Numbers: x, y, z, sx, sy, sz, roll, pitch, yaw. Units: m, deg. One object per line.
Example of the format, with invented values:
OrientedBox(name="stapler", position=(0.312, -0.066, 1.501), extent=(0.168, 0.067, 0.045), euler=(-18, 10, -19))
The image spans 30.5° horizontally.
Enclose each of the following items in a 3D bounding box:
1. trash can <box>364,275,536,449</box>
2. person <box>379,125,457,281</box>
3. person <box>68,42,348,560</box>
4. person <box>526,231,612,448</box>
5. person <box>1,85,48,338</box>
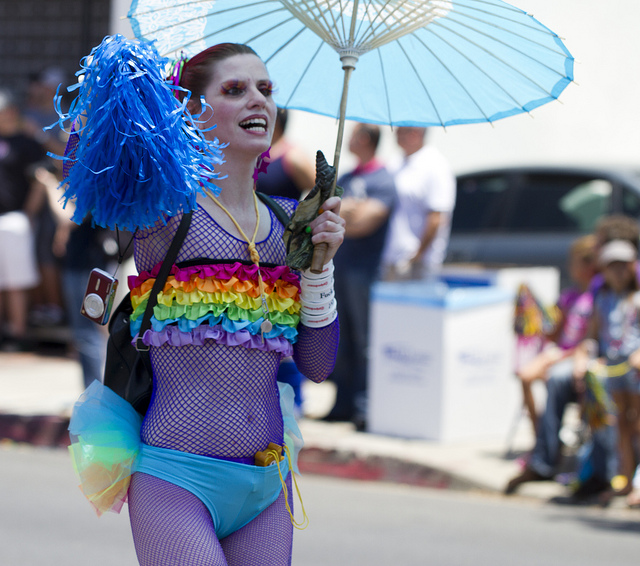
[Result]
OrientedBox(name="trash can", position=(0.762, 0.498, 7.139), extent=(0.833, 0.810, 0.608), euler=(3, -2, -44))
OrientedBox(name="person", position=(0.586, -0.475, 7.084), extent=(0.435, 0.903, 0.509), euler=(4, 10, 30))
OrientedBox(name="person", position=(-0.331, 0.047, 3.706), extent=(0.806, 1.586, 0.557), euler=(-8, 11, -38))
OrientedBox(name="person", position=(1.260, 0.206, 5.991), extent=(0.243, 1.263, 0.228), euler=(21, 4, 0))
OrientedBox(name="person", position=(-2.596, -0.535, 10.243), extent=(0.492, 2.249, 1.225), euler=(-3, 9, -13))
